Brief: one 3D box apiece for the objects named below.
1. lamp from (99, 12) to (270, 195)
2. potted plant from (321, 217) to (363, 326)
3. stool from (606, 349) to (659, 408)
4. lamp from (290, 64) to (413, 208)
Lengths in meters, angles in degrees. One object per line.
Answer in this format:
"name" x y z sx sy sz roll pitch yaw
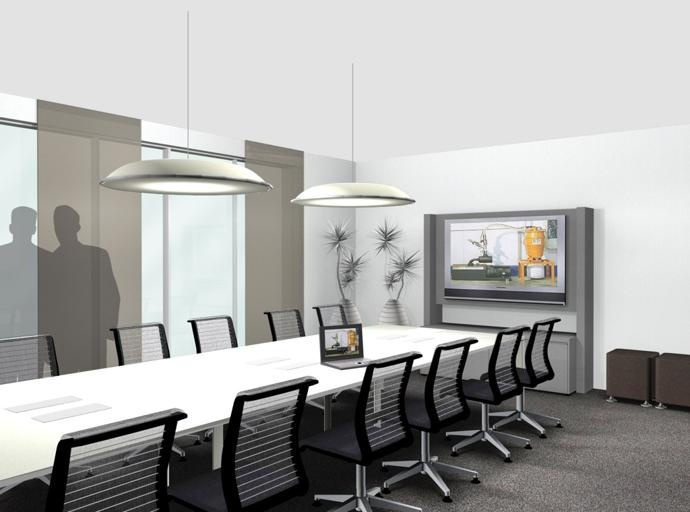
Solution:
"lamp" -1.367 -1.173 4.461 1.357 1.210 1.348 1 2 28
"potted plant" 0.011 0.385 9.811 0.935 2.112 0.842 0 -6 -4
"stool" 3.875 1.617 7.062 0.505 0.584 0.590 8 -8 -40
"lamp" 0.064 -1.226 5.549 1.404 1.331 1.374 -5 8 -43
